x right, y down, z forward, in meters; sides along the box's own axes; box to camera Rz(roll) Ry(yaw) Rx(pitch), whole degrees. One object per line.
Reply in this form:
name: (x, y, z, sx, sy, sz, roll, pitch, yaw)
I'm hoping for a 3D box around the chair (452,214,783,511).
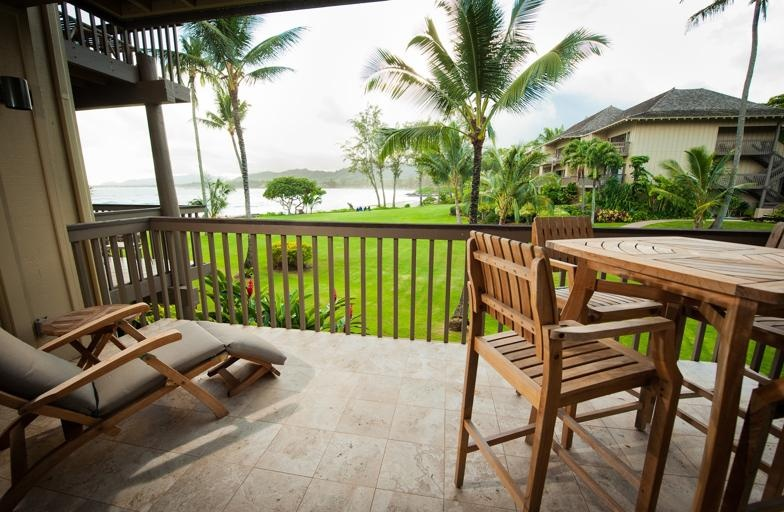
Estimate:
chair: (1.675, 0.824, 3.688, 2.328, 2.066, 1.152, 0, 13, 7)
